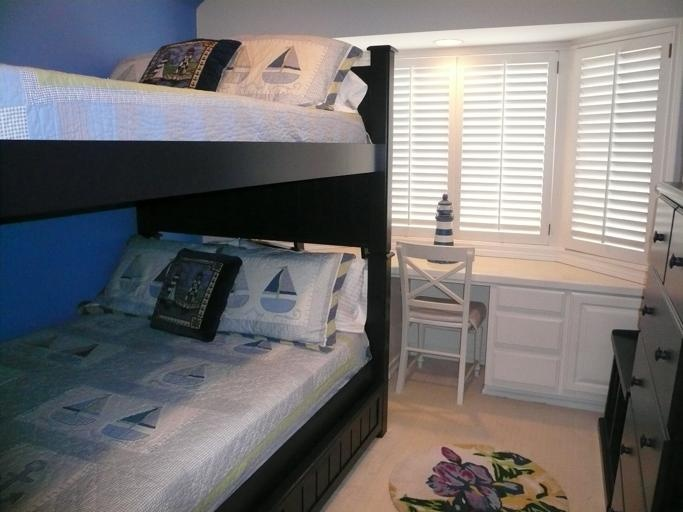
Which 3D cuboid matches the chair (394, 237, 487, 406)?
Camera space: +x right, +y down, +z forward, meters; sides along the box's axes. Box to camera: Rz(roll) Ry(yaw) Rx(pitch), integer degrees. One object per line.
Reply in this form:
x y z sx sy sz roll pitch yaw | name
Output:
0.667 0.408 3.229 0.555 1.012 0.773 7 7 20 | chair
